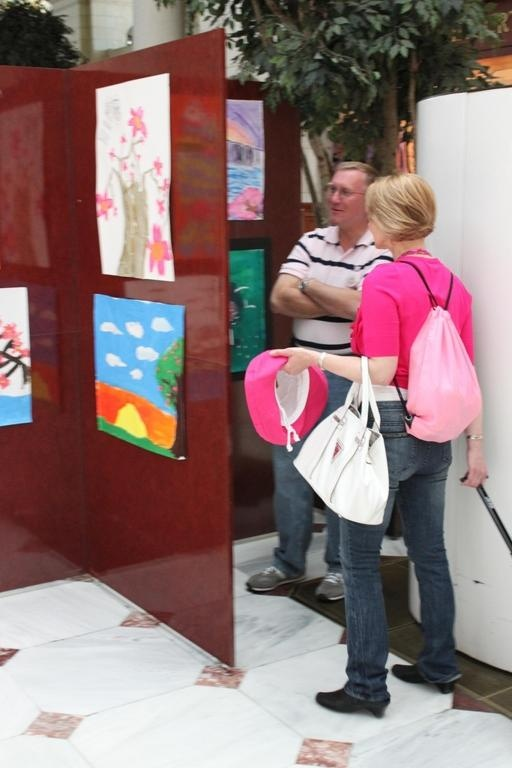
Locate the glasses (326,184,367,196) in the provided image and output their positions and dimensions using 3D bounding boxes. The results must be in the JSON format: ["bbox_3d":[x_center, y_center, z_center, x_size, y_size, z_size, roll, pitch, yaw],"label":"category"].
[{"bbox_3d":[0.283,-0.616,2.253,0.087,0.021,0.063,1,5,-21],"label":"glasses"}]

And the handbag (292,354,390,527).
[{"bbox_3d":[0.213,0.098,1.510,0.130,0.352,0.277,-10,40,-18],"label":"handbag"}]

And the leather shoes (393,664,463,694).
[{"bbox_3d":[0.447,0.767,1.814,0.043,0.056,0.139,-29,31,-32],"label":"leather shoes"}]

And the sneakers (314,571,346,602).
[{"bbox_3d":[0.260,0.709,2.483,0.090,0.087,0.239,-3,-8,20],"label":"sneakers"}]

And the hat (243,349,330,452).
[{"bbox_3d":[0.064,0.039,1.783,0.098,0.259,0.218,12,21,44],"label":"hat"}]

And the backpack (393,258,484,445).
[{"bbox_3d":[0.402,-0.064,1.512,0.190,0.406,0.114,-4,5,-32],"label":"backpack"}]

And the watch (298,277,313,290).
[{"bbox_3d":[0.158,-0.321,2.267,0.034,0.036,0.041,-7,-28,-1],"label":"watch"}]

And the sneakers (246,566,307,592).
[{"bbox_3d":[0.071,0.710,2.539,0.202,0.071,0.073,4,-13,-25],"label":"sneakers"}]
